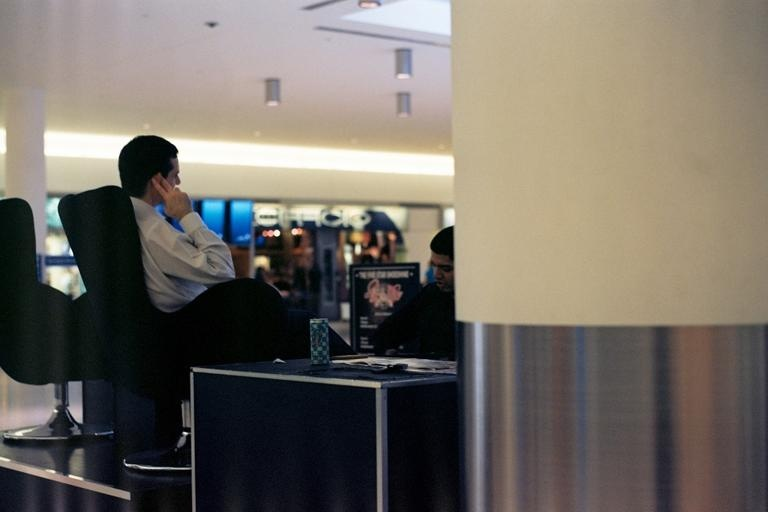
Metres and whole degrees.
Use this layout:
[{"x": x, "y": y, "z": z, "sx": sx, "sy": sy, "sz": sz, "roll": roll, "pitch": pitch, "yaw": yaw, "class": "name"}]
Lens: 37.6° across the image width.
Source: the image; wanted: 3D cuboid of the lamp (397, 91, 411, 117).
[{"x": 0.194, "y": -1.517, "z": 11.261, "sx": 0.183, "sy": 0.239, "sz": 0.191, "roll": -1, "pitch": 3, "yaw": -13, "class": "lamp"}]

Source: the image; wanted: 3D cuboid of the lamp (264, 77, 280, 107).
[{"x": -1.005, "y": -1.531, "z": 10.549, "sx": 0.210, "sy": 0.360, "sz": 0.207, "roll": -1, "pitch": 6, "yaw": -4, "class": "lamp"}]

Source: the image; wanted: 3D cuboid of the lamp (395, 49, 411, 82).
[{"x": 0.168, "y": -1.613, "z": 9.496, "sx": 0.147, "sy": 0.216, "sz": 0.350, "roll": 0, "pitch": -2, "yaw": 1, "class": "lamp"}]
